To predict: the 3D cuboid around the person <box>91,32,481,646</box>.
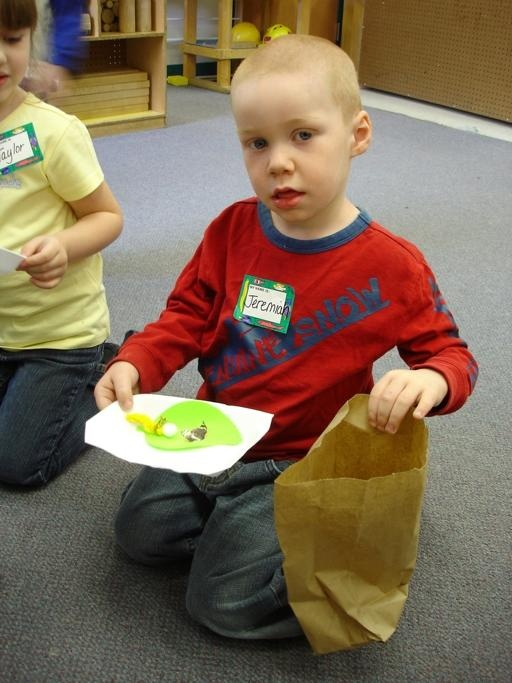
[{"bbox_3d":[0.035,-0.016,0.778,0.393,0.746,0.539,-5,11,-44],"label":"person"}]
